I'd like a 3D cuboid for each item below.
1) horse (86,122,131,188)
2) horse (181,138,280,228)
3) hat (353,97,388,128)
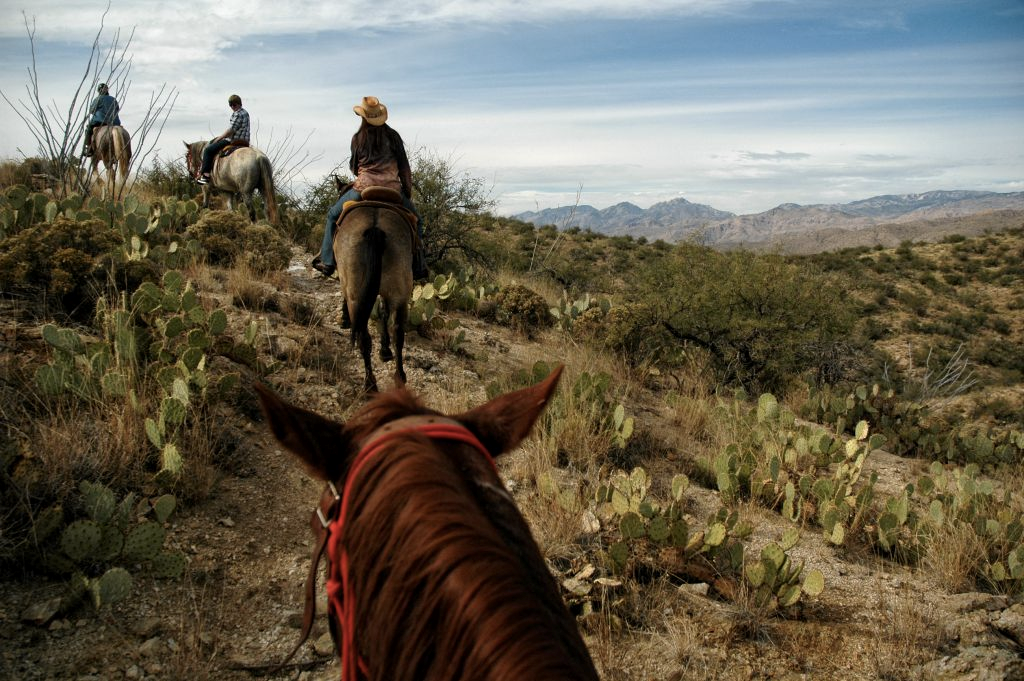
[{"bbox_3d":[-9.460,-4.385,16.861,0.605,1.977,2.656,-7,15,-33],"label":"horse"},{"bbox_3d":[-6.150,-3.430,15.377,2.646,1.987,0.665,8,15,29],"label":"horse"},{"bbox_3d":[-1.859,-3.105,9.574,0.388,0.338,0.476,-3,14,-26],"label":"hat"}]
